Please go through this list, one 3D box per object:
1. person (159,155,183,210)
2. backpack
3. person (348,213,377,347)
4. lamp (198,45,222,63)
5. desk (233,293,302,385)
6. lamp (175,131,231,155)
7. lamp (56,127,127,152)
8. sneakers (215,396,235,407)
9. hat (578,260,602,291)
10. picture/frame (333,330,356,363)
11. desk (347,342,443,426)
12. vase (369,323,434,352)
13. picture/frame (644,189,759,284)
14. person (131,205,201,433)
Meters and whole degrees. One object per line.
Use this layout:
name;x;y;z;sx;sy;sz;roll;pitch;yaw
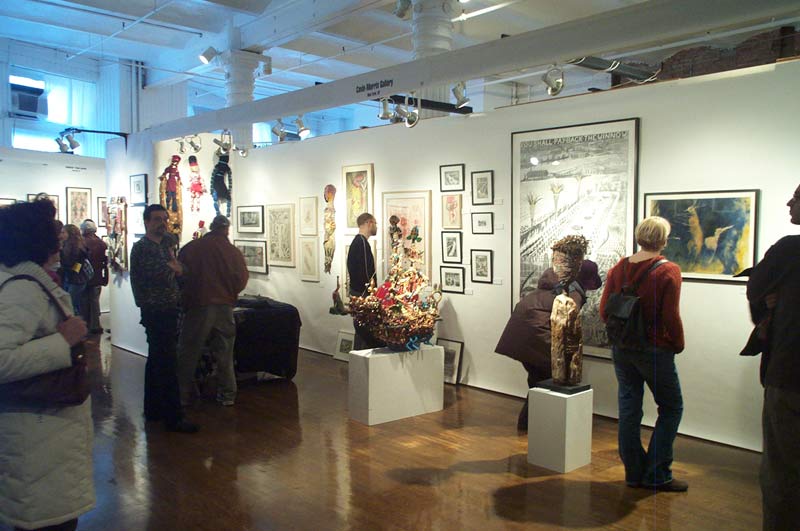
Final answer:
person;-3.727;-1.340;9.596;0.391;0.921;0.271;-6;12;-26
backpack;2.274;0.368;5.667;0.467;0.914;0.398;10;-4;-17
person;-0.521;0.213;8.103;0.383;1.788;0.816;-1;11;-5
lamp;-3.349;-3.724;10.428;0.348;0.279;0.585;-3;11;-16
desk;-2.058;1.167;8.679;1.189;1.114;1.153;-2;-17;3
lamp;-3.161;-2.022;9.671;0.821;0.287;0.528;0;3;21
lamp;-6.494;-2.657;12.200;1.146;0.635;5.689;-6;12;-29
sneakers;-2.217;1.731;7.462;0.173;0.081;0.131;4;-2;-5
hat;2.233;0.124;6.926;0.283;0.363;0.376;2;-14;1
picture/frame;-0.871;1.292;9.304;0.035;0.673;0.687;8;-5;-34
desk;-0.098;1.388;7.395;1.602;1.070;0.797;0;-1;-39
vase;0.012;0.878;7.109;0.474;0.199;0.439;-6;-8;20
picture/frame;3.212;-0.278;6.159;1.065;0.871;0.040;2;4;42
person;-2.721;0.617;6.775;0.729;2.578;0.443;6;13;31
